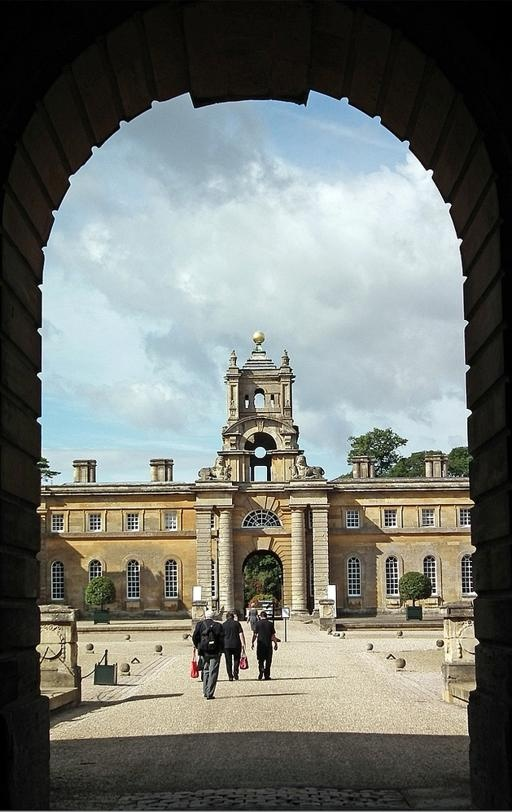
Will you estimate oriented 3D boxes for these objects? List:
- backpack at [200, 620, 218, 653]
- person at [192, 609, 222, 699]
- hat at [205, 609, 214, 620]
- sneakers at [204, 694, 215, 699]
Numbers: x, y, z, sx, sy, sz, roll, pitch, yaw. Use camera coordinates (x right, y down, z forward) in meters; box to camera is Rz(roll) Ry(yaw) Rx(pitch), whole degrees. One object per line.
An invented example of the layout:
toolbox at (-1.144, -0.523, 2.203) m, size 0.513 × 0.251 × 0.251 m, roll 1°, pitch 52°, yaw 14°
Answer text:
backpack at (-0.869, 4.260, 14.403) m, size 0.347 × 0.546 × 0.280 m, roll 0°, pitch -34°, yaw 3°
person at (-0.862, 4.504, 14.259) m, size 0.523 × 1.466 × 1.236 m, roll 0°, pitch -10°, yaw -4°
hat at (-0.886, 3.928, 14.794) m, size 0.127 × 0.103 × 0.191 m, roll 2°, pitch 6°, yaw 3°
sneakers at (-0.802, 5.084, 13.703) m, size 0.193 × 0.141 × 0.064 m, roll 24°, pitch -29°, yaw -39°
